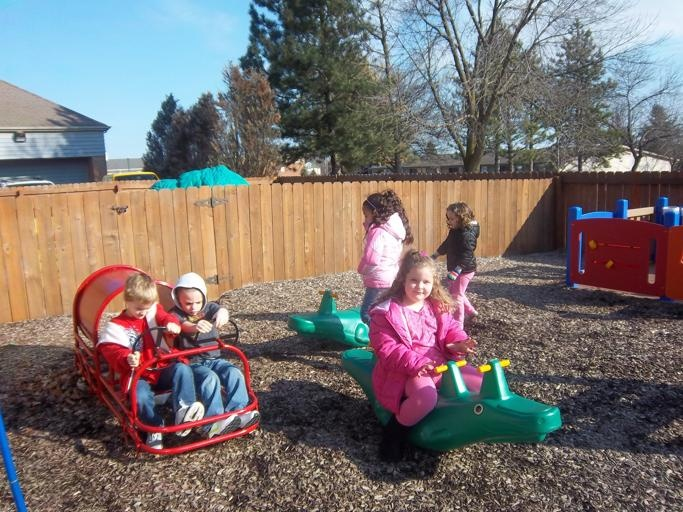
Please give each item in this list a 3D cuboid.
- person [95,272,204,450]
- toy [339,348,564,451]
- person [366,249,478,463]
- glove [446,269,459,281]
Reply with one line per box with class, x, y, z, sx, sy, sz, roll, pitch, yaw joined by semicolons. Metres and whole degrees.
person;-1.455;0.782;4.406;0.594;1.247;0.852;-8;10;-38
toy;0.689;1.048;4.365;0.473;0.724;1.877;-3;7;-42
person;0.648;0.789;4.414;0.849;1.539;0.890;-4;12;-14
glove;1.185;0.206;6.135;0.120;0.029;0.087;-33;29;-32
